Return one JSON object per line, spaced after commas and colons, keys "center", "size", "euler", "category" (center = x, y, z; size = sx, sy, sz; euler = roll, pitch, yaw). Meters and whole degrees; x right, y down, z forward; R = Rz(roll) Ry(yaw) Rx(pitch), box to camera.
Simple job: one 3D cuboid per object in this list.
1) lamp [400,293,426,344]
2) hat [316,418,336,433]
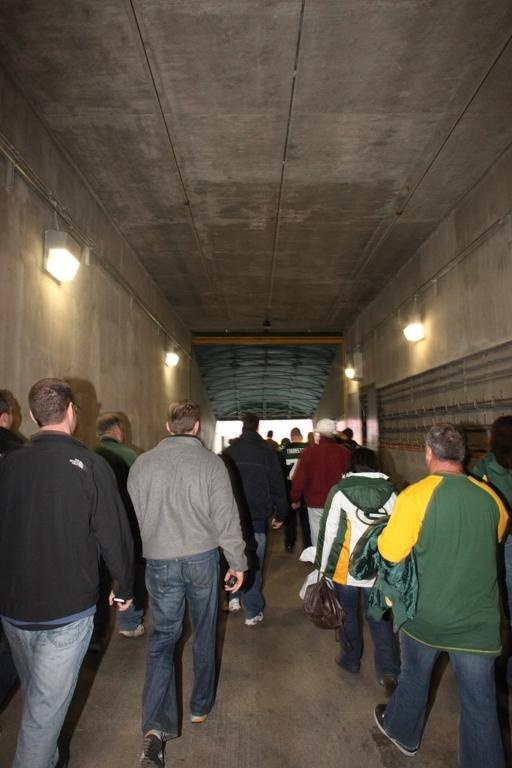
{"center": [1.913, -0.782, 6.396], "size": [0.195, 0.585, 0.633], "euler": [-1, -4, 8], "category": "lamp"}
{"center": [0.588, 0.346, 4.343], "size": [0.104, 0.125, 0.143], "euler": [1, -10, -5], "category": "hat"}
